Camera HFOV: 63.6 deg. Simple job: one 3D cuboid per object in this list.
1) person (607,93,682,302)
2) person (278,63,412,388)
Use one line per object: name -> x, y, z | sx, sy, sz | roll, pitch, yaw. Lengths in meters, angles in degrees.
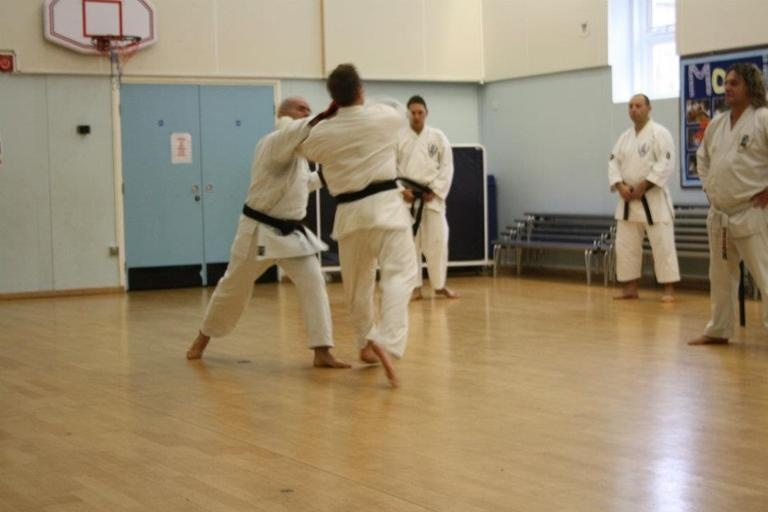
person -> 2.686, -0.605, 6.422 | 0.697, 2.097, 0.559 | 2, 8, 26
person -> -0.120, -0.202, 4.034 | 0.648, 2.013, 0.422 | 4, 9, 35
